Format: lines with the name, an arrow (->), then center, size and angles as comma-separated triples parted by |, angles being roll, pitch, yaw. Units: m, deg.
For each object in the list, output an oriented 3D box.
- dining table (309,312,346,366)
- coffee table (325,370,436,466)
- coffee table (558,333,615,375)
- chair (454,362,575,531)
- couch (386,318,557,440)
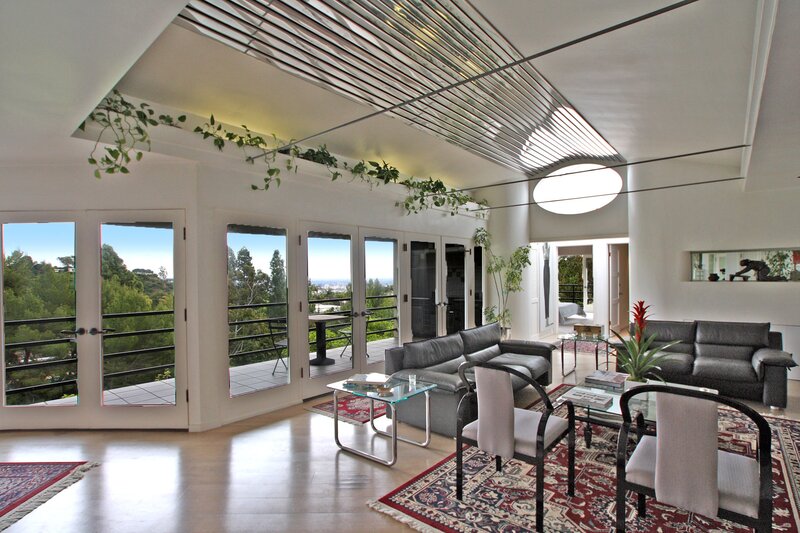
dining table -> -1.297, 1.112, 7.653 | 0.659, 0.618, 0.677 | 1, 1, 45
coffee table -> -0.222, 1.792, 5.831 | 0.967, 0.747, 1.100 | -1, 0, -44
coffee table -> 3.302, 1.533, 8.936 | 1.087, 0.788, 0.977 | -3, -6, 38
chair -> 1.173, 1.707, 5.084 | 1.152, 1.528, 1.038 | -3, -2, 17
couch -> 1.222, 1.550, 7.276 | 1.308, 1.089, 3.019 | -1, 1, 36
